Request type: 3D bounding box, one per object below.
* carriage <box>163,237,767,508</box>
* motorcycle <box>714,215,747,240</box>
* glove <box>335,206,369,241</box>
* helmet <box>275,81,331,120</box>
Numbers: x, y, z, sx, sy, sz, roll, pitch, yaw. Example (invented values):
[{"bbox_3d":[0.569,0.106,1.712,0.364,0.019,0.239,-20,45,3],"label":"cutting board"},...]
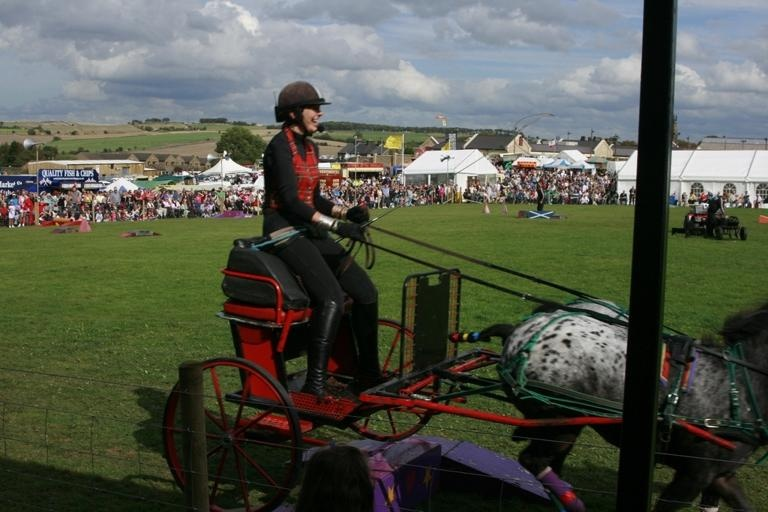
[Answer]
[{"bbox_3d":[0.108,1.061,6.116,6.230,2.233,2.414,1,3,27],"label":"carriage"},{"bbox_3d":[13.355,-1.096,24.273,1.009,0.655,1.634,-1,1,6],"label":"motorcycle"},{"bbox_3d":[-0.273,-0.290,5.566,0.345,0.109,0.327,-29,14,9],"label":"glove"},{"bbox_3d":[-0.790,-1.432,5.685,0.438,0.351,0.613,-1,9,-4],"label":"helmet"}]
